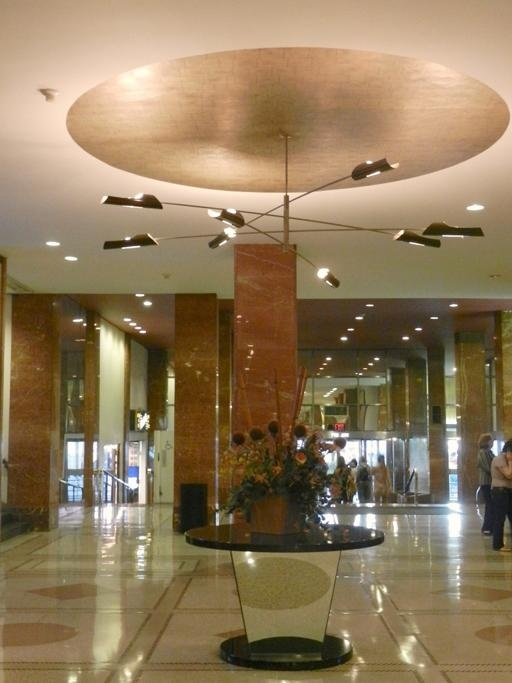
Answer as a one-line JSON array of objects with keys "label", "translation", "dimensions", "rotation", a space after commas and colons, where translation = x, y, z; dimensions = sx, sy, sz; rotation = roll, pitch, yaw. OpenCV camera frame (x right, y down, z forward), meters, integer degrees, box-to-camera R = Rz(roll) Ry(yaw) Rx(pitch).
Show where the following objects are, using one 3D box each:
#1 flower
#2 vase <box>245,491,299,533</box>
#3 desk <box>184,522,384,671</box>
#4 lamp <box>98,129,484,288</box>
[{"label": "flower", "translation": [0.185, 0.698, 3.824], "dimensions": [0.784, 0.907, 0.782], "rotation": [0, -8, -4]}, {"label": "vase", "translation": [0.096, 0.996, 3.472], "dimensions": [0.244, 0.177, 0.250], "rotation": [-6, -11, 33]}, {"label": "desk", "translation": [0.174, 1.546, 3.494], "dimensions": [1.063, 0.888, 1.134], "rotation": [0, -7, -6]}, {"label": "lamp", "translation": [0.052, -1.136, 5.537], "dimensions": [2.232, 0.776, 2.159], "rotation": [8, -16, -28]}]
